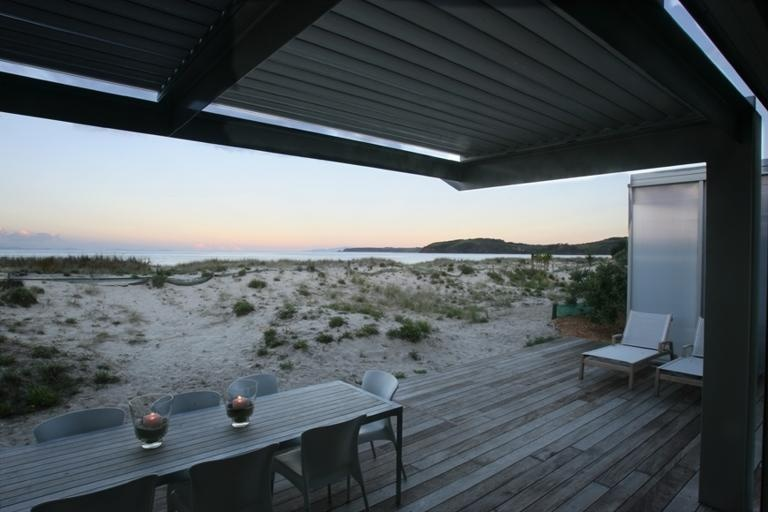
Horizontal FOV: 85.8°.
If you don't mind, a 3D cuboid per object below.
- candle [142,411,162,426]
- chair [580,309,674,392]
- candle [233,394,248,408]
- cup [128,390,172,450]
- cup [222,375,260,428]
[{"bbox_3d":[-1.711,1.207,3.049,0.106,0.058,0.104,-1,10,12],"label":"candle"},{"bbox_3d":[4.009,1.488,6.880,1.830,0.964,0.910,-4,1,-38],"label":"chair"},{"bbox_3d":[-1.157,1.167,3.322,0.092,0.080,0.088,1,-8,-3],"label":"candle"},{"bbox_3d":[-1.750,1.235,3.099,0.282,0.351,0.211,-4,7,-19],"label":"cup"},{"bbox_3d":[-1.149,1.190,3.364,0.337,0.379,0.347,1,-10,0],"label":"cup"}]
